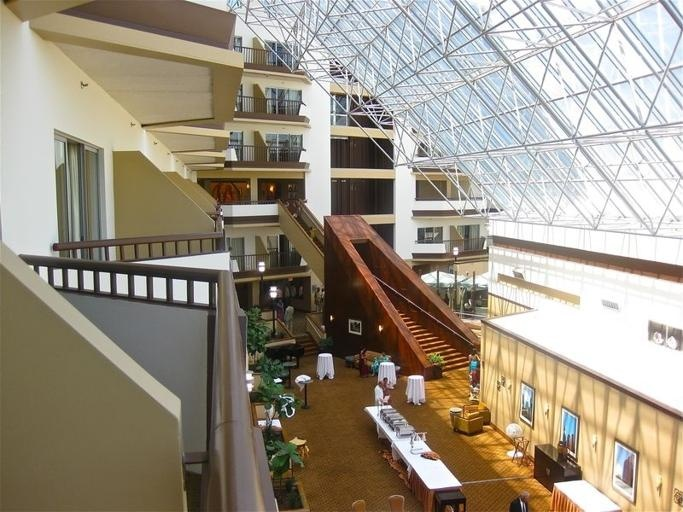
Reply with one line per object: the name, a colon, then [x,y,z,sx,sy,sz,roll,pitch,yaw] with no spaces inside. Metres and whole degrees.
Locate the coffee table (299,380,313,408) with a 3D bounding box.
coffee table: [-1.093,4.338,17.944,0.541,0.842,0.602,0,18,2]

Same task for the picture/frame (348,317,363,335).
picture/frame: [0.608,2.823,22.929,0.060,0.646,0.623,-2,2,-38]

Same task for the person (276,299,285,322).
person: [-3.147,2.863,29.734,0.371,1.405,0.453,-7,16,-14]

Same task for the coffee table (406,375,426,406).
coffee table: [2.352,4.139,18.127,0.635,1.018,0.745,-1,10,8]

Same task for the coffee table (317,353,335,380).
coffee table: [-0.561,3.912,20.483,0.667,0.980,0.719,-1,0,-14]

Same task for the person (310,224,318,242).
person: [-1.335,-1.083,28.394,0.352,0.645,1.401,-4,6,-3]

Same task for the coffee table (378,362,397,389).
coffee table: [1.482,4.099,19.779,0.643,0.992,0.697,2,1,32]
